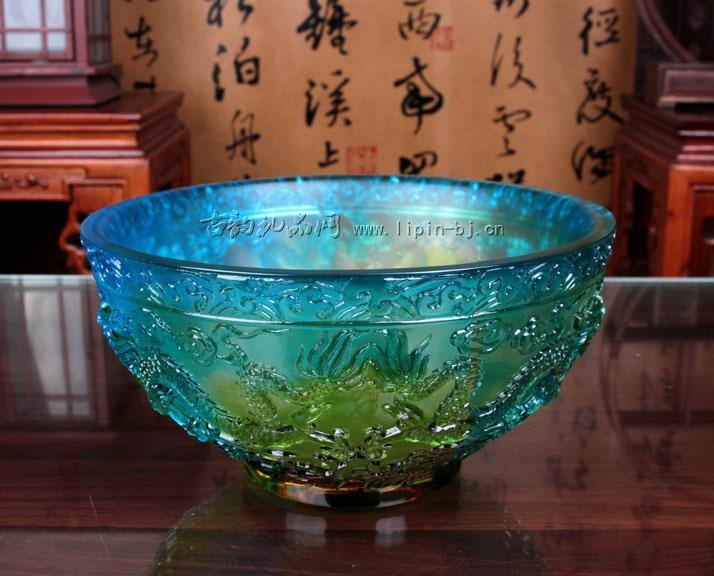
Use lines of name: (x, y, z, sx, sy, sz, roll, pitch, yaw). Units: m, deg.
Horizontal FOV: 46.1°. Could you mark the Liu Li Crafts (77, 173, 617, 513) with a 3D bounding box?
Liu Li Crafts: (0.002, 0.029, 0.595, 0.333, 0.190, 0.275, 3, 17, 13)
